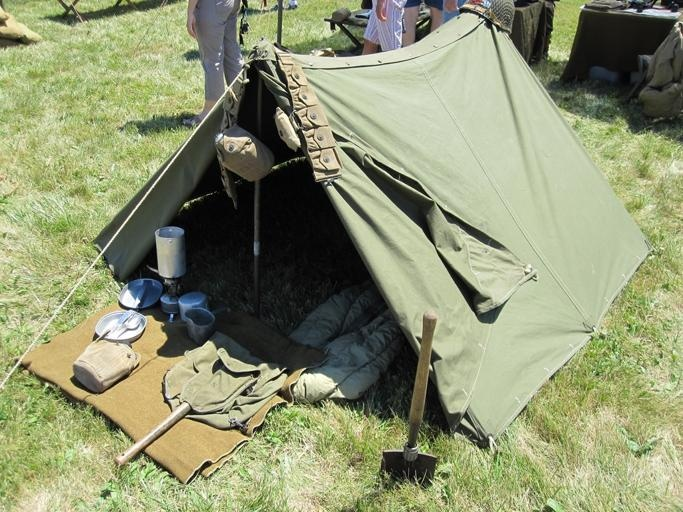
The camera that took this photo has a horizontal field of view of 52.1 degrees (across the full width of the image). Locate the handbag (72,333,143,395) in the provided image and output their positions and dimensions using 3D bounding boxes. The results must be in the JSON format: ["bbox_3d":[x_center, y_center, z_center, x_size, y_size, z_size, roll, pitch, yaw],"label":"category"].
[{"bbox_3d":[-1.852,0.885,5.503,0.420,0.390,0.421,20,25,25],"label":"handbag"}]

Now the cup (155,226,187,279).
[{"bbox_3d":[-1.425,-0.031,5.857,0.201,0.389,0.234,4,30,3],"label":"cup"}]
